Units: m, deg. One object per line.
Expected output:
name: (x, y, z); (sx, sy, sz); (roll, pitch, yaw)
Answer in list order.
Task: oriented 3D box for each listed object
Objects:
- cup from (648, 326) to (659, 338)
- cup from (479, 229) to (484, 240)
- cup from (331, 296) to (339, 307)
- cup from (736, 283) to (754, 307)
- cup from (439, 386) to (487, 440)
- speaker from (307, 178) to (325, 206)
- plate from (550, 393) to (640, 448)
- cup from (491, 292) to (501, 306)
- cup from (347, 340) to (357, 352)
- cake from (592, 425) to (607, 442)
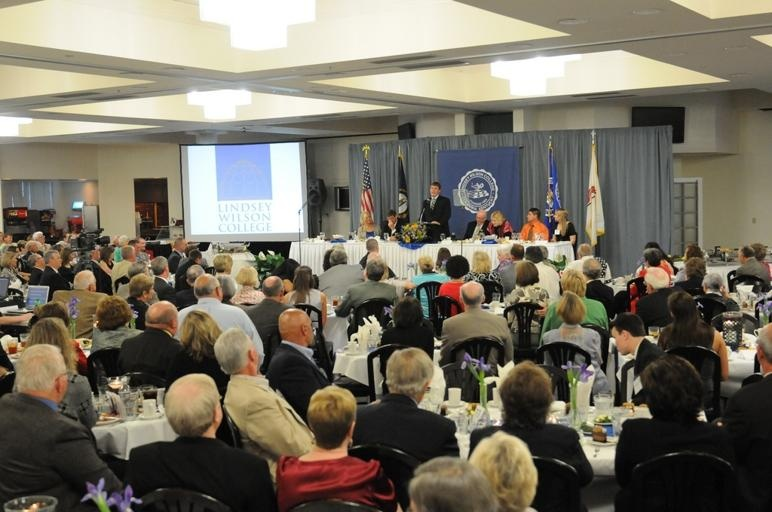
cup: (2.716, 0.745, 6.686); (0.120, 0.142, 0.122); (-1, 1, 0)
cup: (1.904, -0.430, 13.036); (0.121, 0.200, 0.108); (-2, -2, 2)
cup: (-0.668, 0.597, 8.915); (0.093, 0.105, 0.106); (1, -3, -18)
cup: (4.578, 0.510, 8.391); (0.138, 0.365, 0.279); (3, 13, 9)
cup: (0.529, 1.066, 4.527); (0.358, 0.186, 0.504); (0, -1, 2)
speaker: (-1.914, -1.792, 18.647); (0.430, 0.766, 1.165); (-2, 3, 1)
plate: (1.443, 1.122, 4.614); (0.567, 0.183, 0.600); (-1, 4, 15)
cup: (1.492, 0.559, 8.859); (0.129, 0.193, 0.123); (0, 1, 0)
cup: (-0.338, 0.920, 6.825); (0.110, 0.143, 0.077); (3, 4, 14)
cake: (1.413, 1.156, 4.376); (0.092, 0.092, 0.091); (3, -3, -39)
